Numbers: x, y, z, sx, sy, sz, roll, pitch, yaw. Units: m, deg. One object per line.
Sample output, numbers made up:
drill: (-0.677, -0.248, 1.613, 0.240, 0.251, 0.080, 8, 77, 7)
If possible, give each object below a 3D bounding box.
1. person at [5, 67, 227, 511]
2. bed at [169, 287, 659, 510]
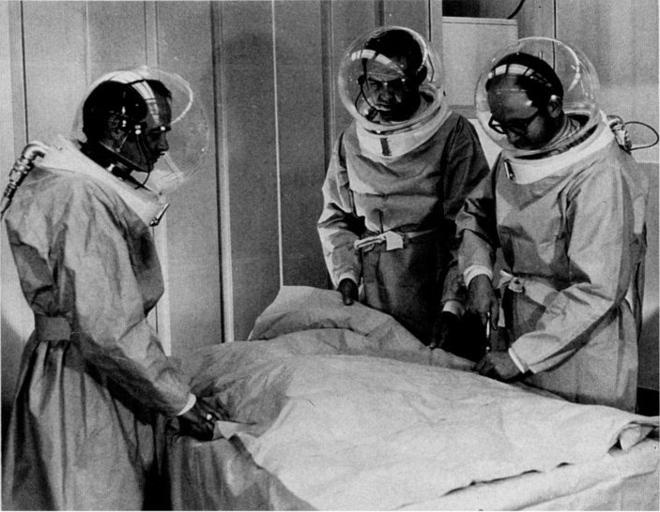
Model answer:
person: (-0.672, 0.120, 2.949, 0.641, 1.314, 0.279, -2, 5, -7)
bed: (0.113, 0.459, 2.914, 0.676, 0.241, 0.914, -4, 7, -29)
